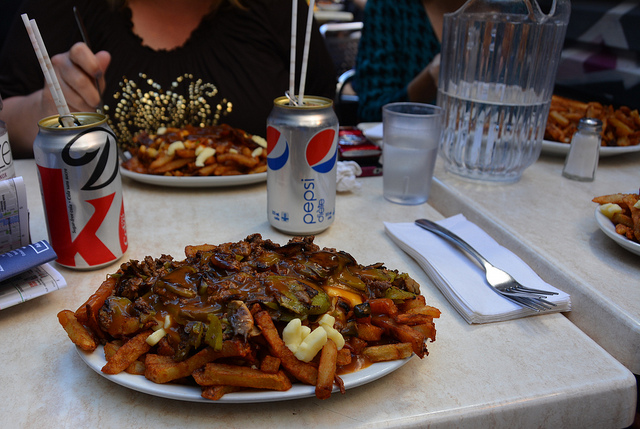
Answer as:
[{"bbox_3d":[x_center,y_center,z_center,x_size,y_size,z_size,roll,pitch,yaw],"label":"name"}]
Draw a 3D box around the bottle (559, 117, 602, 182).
[{"bbox_3d":[0.985,-0.241,1.882,0.136,0.220,0.138,6,14,-2],"label":"bottle"}]
